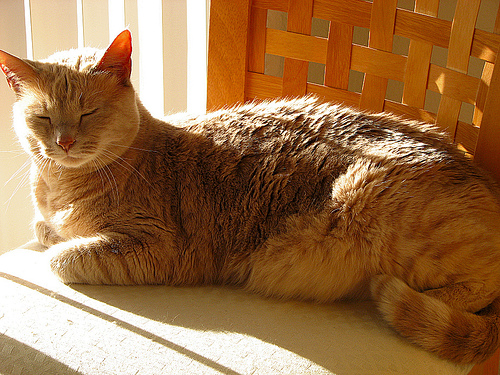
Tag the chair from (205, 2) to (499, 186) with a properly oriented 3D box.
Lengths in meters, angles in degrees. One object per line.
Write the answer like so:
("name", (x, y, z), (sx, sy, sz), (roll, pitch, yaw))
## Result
("chair", (0.301, -0.286, 1.447), (0.541, 0.579, 0.377), (3, 10, 10))
